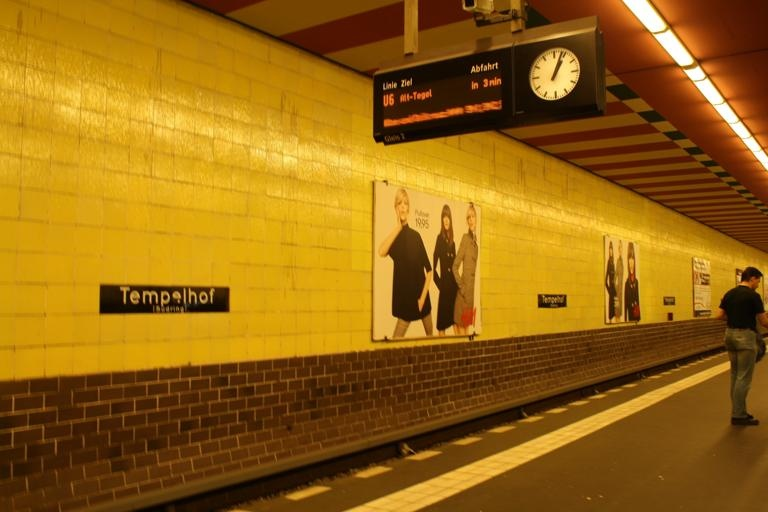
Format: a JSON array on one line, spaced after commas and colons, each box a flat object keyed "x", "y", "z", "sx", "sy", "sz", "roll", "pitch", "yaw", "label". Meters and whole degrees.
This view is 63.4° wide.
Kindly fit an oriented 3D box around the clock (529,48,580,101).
[{"x": 1.429, "y": -1.502, "z": 5.161, "sx": 0.336, "sy": 0.376, "sz": 0.038, "roll": 19, "pitch": 6, "yaw": 32, "label": "clock"}]

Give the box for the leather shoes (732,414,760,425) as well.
[{"x": 4.639, "y": 2.124, "z": 8.107, "sx": 0.374, "sy": 0.183, "sz": 0.135, "roll": 0, "pitch": -4, "yaw": 1, "label": "leather shoes"}]
